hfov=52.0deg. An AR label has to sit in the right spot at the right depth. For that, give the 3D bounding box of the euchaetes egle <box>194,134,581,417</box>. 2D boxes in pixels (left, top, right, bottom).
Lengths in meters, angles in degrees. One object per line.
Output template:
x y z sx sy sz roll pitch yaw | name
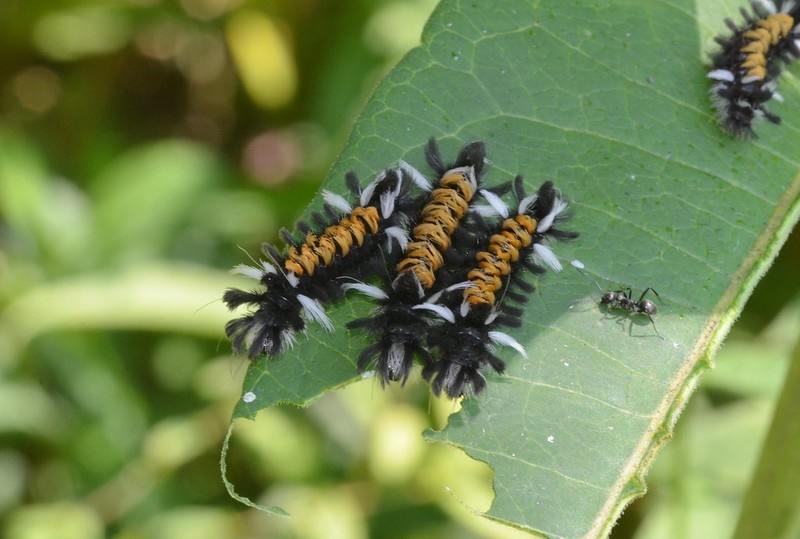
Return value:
0.118 -0.107 5.297 2.045 1.538 1.533 -1 12 -1 | euchaetes egle
